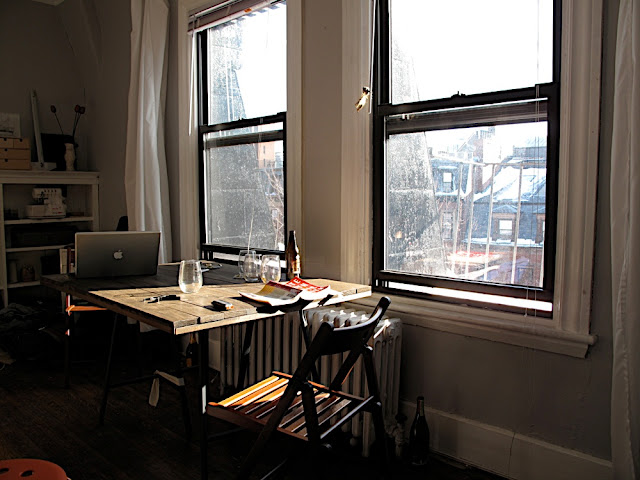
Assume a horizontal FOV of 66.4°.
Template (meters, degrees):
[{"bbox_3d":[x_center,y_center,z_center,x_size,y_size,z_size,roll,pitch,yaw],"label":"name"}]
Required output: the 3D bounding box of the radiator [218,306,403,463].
[{"bbox_3d":[-0.100,0.684,2.276,0.747,0.831,0.561,3,6,40],"label":"radiator"}]

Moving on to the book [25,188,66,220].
[{"bbox_3d":[-2.734,-0.357,4.924,0.331,0.327,0.208,-4,-8,-25],"label":"book"}]

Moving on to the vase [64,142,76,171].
[{"bbox_3d":[-2.520,-0.844,4.921,0.100,0.271,0.187,-5,11,-27],"label":"vase"}]

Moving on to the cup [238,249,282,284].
[{"bbox_3d":[-0.331,0.152,2.704,0.124,0.161,0.313,0,-1,-19],"label":"cup"}]

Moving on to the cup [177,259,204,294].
[{"bbox_3d":[-0.641,0.169,2.413,0.138,0.202,0.139,-1,4,0],"label":"cup"}]

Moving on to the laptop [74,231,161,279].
[{"bbox_3d":[-1.148,0.086,2.780,0.391,0.283,0.273,0,7,-21],"label":"laptop"}]

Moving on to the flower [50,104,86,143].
[{"bbox_3d":[-2.645,-1.259,5.137,0.343,0.076,0.449,-10,-37,-32],"label":"flower"}]
